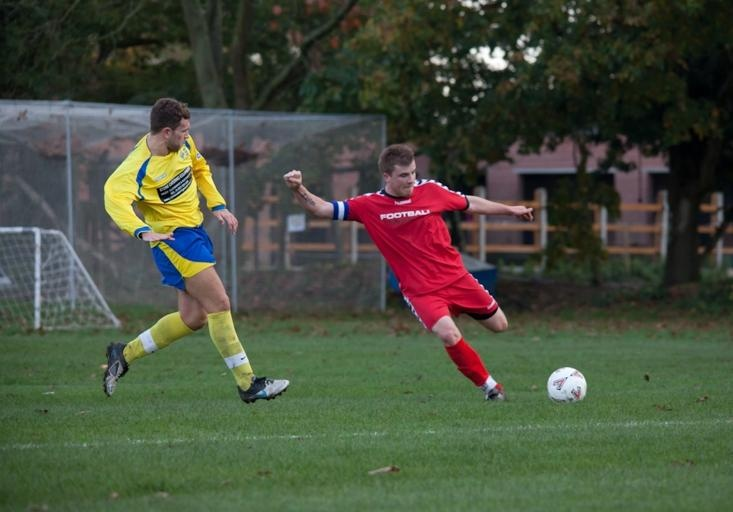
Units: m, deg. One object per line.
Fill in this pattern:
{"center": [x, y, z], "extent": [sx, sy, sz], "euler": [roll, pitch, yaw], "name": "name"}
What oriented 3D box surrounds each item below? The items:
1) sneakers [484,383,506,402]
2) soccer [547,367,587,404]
{"center": [1.518, 1.614, 17.642], "extent": [0.138, 0.169, 0.257], "euler": [-1, 12, 16], "name": "sneakers"}
{"center": [2.349, 1.511, 17.595], "extent": [0.419, 0.394, 0.406], "euler": [-11, 0, -24], "name": "soccer"}
